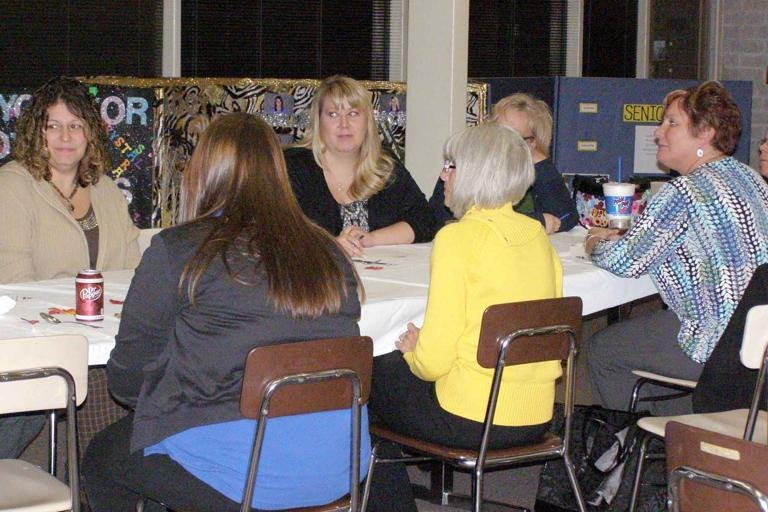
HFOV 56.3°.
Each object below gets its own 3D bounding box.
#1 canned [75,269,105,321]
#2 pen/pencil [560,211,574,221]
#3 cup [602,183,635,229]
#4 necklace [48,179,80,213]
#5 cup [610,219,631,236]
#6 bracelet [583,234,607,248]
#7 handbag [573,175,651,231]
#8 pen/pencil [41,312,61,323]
[{"bbox_3d":[-0.969,0.135,2.361,0.126,0.155,0.122,1,3,-5],"label":"canned"},{"bbox_3d":[0.998,-0.215,3.919,0.026,0.026,0.118,-20,2,-8],"label":"pen/pencil"},{"bbox_3d":[1.103,-0.229,3.364,0.147,0.200,0.142,-2,7,0],"label":"cup"},{"bbox_3d":[-1.389,-0.252,3.148,0.099,0.135,0.011,-12,-15,-46],"label":"necklace"},{"bbox_3d":[1.097,-0.131,3.311,0.088,0.057,0.086,0,-1,0],"label":"cup"},{"bbox_3d":[0.948,-0.063,3.239,0.053,0.030,0.069,5,-17,-35],"label":"bracelet"},{"bbox_3d":[1.359,-0.250,4.290,0.418,0.228,0.387,1,52,15],"label":"handbag"},{"bbox_3d":[-1.087,0.205,2.336,0.063,0.007,0.014,17,29,39],"label":"pen/pencil"}]
